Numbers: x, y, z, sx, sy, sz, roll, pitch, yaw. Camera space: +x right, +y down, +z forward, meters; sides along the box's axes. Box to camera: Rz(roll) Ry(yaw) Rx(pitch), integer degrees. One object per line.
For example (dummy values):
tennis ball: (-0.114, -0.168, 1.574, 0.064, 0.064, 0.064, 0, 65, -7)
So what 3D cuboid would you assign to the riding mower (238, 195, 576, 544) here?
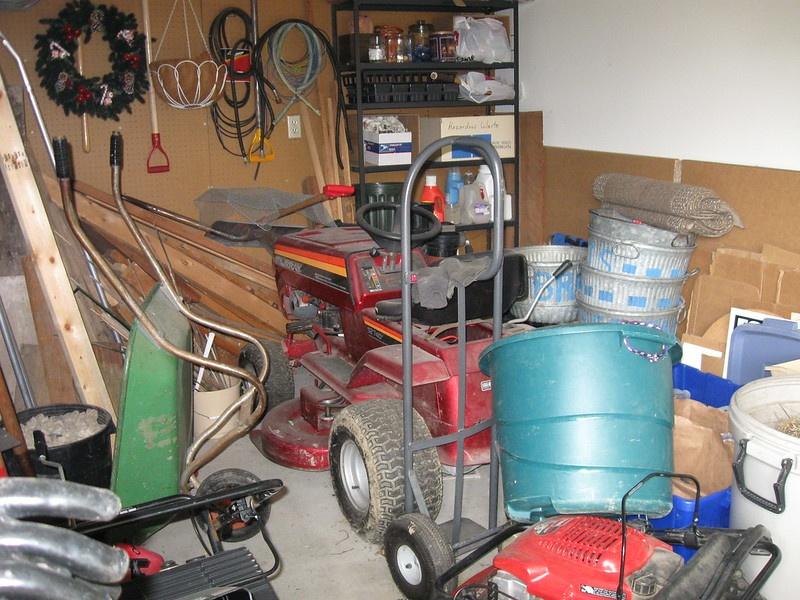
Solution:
riding mower: (0.084, 0.454, 3.692, 1.690, 1.844, 1.503, -8, 16, -29)

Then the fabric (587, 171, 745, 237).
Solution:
fabric: (1.473, -0.552, 3.866, 0.683, 0.412, 0.788, -6, 16, -21)

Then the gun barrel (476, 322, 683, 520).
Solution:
gun barrel: (0.681, 0.315, 2.566, 0.581, 0.760, 0.573, 0, 14, 0)

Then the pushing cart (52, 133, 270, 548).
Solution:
pushing cart: (-1.044, 0.182, 3.160, 1.010, 1.606, 0.912, 4, 6, 2)

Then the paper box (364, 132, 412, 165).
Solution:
paper box: (-0.075, -1.165, 4.985, 0.276, 0.185, 0.282, -10, 22, -25)
